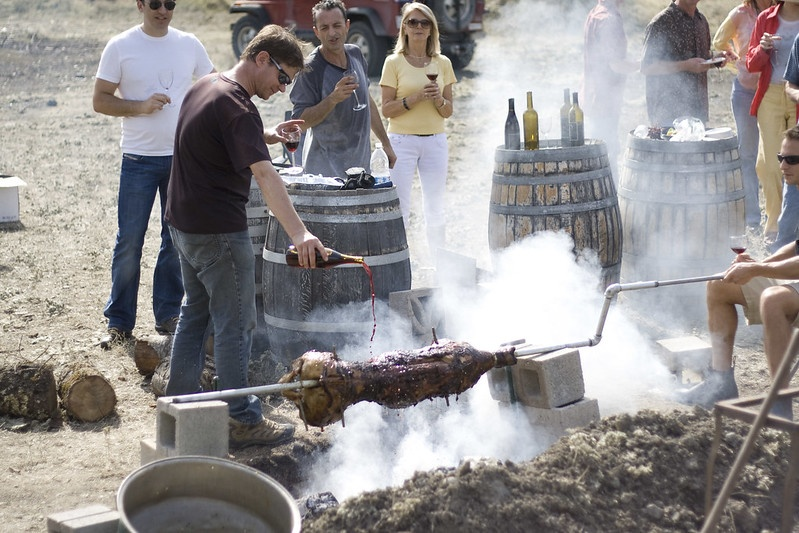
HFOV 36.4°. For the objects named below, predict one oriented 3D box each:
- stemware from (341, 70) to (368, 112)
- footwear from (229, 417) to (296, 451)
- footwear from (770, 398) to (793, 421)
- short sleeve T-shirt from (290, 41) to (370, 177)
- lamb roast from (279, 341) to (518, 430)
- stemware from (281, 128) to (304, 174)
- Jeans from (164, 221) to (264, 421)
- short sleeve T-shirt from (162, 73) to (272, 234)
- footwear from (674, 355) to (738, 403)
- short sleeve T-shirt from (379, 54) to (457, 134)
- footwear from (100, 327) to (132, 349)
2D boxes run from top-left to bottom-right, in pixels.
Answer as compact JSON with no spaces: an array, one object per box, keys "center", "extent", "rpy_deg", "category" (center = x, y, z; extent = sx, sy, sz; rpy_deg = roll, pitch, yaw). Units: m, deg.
[{"center":[-0.449,-1.776,12.282],"extent":[0.210,0.420,0.409],"rpy_deg":[-1,7,1],"category":"stemware"},{"center":[-1.256,1.477,11.211],"extent":[0.621,0.349,0.232],"rpy_deg":[-4,12,-10],"category":"footwear"},{"center":[3.343,1.217,10.614],"extent":[0.154,0.194,0.411],"rpy_deg":[2,8,28],"category":"footwear"},{"center":[-0.691,-1.570,12.231],"extent":[0.535,1.490,1.027],"rpy_deg":[6,13,36],"category":"short sleeve T-shirt"},{"center":[-0.013,0.796,10.638],"extent":[1.825,0.811,0.728],"rpy_deg":[-7,14,-14],"category":"lamb roast"},{"center":[-1.037,-1.145,11.909],"extent":[0.134,0.395,0.144],"rpy_deg":[-5,29,-8],"category":"stemware"},{"center":[-1.727,0.387,11.021],"extent":[0.804,2.045,0.581],"rpy_deg":[8,18,30],"category":"Jeans"},{"center":[-1.601,-0.970,10.797],"extent":[0.472,1.082,1.106],"rpy_deg":[-6,26,-30],"category":"short sleeve T-shirt"},{"center":[2.919,1.103,11.567],"extent":[0.626,0.527,0.269],"rpy_deg":[-1,2,16],"category":"footwear"},{"center":[0.235,-1.838,13.152],"extent":[0.805,0.941,0.484],"rpy_deg":[0,-3,-5],"category":"short sleeve T-shirt"},{"center":[-2.875,0.719,12.328],"extent":[0.127,0.184,0.387],"rpy_deg":[-1,2,6],"category":"footwear"}]
